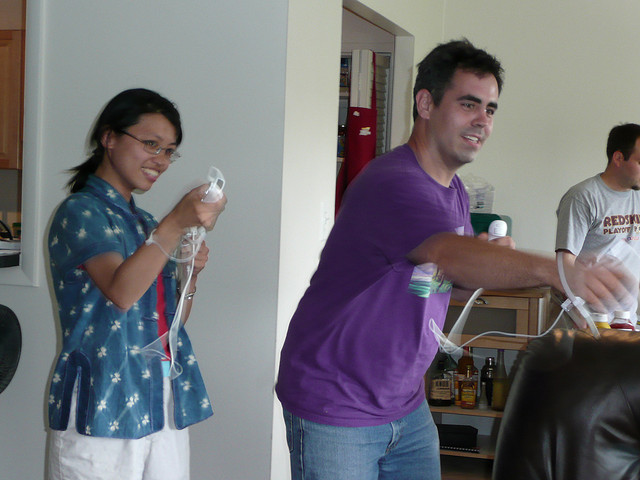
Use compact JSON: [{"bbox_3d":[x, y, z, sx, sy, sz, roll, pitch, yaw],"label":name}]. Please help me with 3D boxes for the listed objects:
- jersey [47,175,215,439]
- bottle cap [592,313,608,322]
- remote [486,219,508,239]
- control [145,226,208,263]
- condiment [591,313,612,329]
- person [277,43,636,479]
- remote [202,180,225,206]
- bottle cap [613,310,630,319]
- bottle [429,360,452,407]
[{"bbox_3d":[-0.543,0.160,1.461,0.279,0.489,0.228,6,-4,-39],"label":"jersey"},{"bbox_3d":[0.438,0.121,0.887,0.021,0.015,0.008,3,-3,26],"label":"bottle cap"},{"bbox_3d":[0.365,-0.023,1.163,0.046,0.044,0.069,4,-2,20],"label":"remote"},{"bbox_3d":[-0.345,0.006,1.389,0.109,0.098,0.043,-27,-17,-40],"label":"control"},{"bbox_3d":[0.442,0.124,0.888,0.020,0.032,0.017,-9,-1,-2],"label":"condiment"},{"bbox_3d":[0.246,-0.003,1.755,0.896,1.597,0.649,5,10,16],"label":"person"},{"bbox_3d":[-0.247,-0.112,1.333,0.051,0.061,0.022,7,-4,-44],"label":"remote"},{"bbox_3d":[0.467,0.115,0.879,0.025,0.015,0.008,4,-3,11],"label":"bottle cap"},{"bbox_3d":[0.376,0.447,1.779,0.083,0.118,0.081,1,-7,0],"label":"bottle"}]
